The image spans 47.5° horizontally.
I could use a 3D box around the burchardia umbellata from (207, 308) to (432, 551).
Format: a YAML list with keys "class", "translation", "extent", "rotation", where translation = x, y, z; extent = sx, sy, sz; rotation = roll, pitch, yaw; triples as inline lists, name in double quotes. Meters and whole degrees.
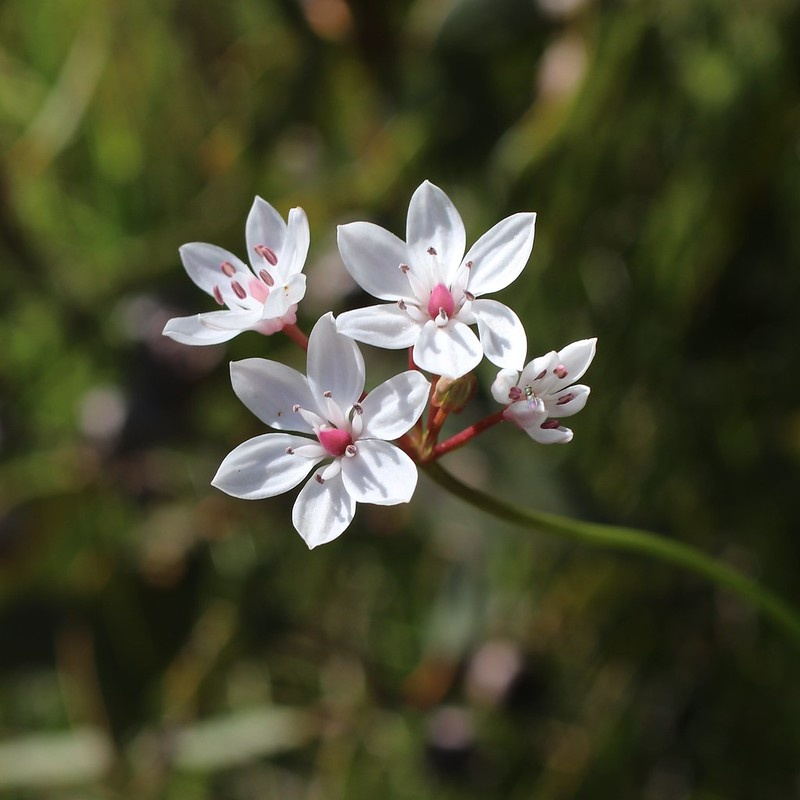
- class: "burchardia umbellata"
  translation: [-0.164, 0.097, 2.349]
  extent: [0.525, 0.530, 0.222]
  rotation: [-23, 109, -26]

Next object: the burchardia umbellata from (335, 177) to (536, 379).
- class: "burchardia umbellata"
  translation: [0.086, -0.316, 2.280]
  extent: [0.469, 0.201, 0.516]
  rotation: [-38, 59, -5]

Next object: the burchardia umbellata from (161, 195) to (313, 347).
- class: "burchardia umbellata"
  translation: [-0.381, -0.275, 2.528]
  extent: [0.239, 0.412, 0.432]
  rotation: [52, 35, -10]

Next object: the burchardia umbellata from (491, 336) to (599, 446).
- class: "burchardia umbellata"
  translation: [0.390, 0.016, 2.407]
  extent: [0.279, 0.221, 0.223]
  rotation: [-18, 79, -2]
